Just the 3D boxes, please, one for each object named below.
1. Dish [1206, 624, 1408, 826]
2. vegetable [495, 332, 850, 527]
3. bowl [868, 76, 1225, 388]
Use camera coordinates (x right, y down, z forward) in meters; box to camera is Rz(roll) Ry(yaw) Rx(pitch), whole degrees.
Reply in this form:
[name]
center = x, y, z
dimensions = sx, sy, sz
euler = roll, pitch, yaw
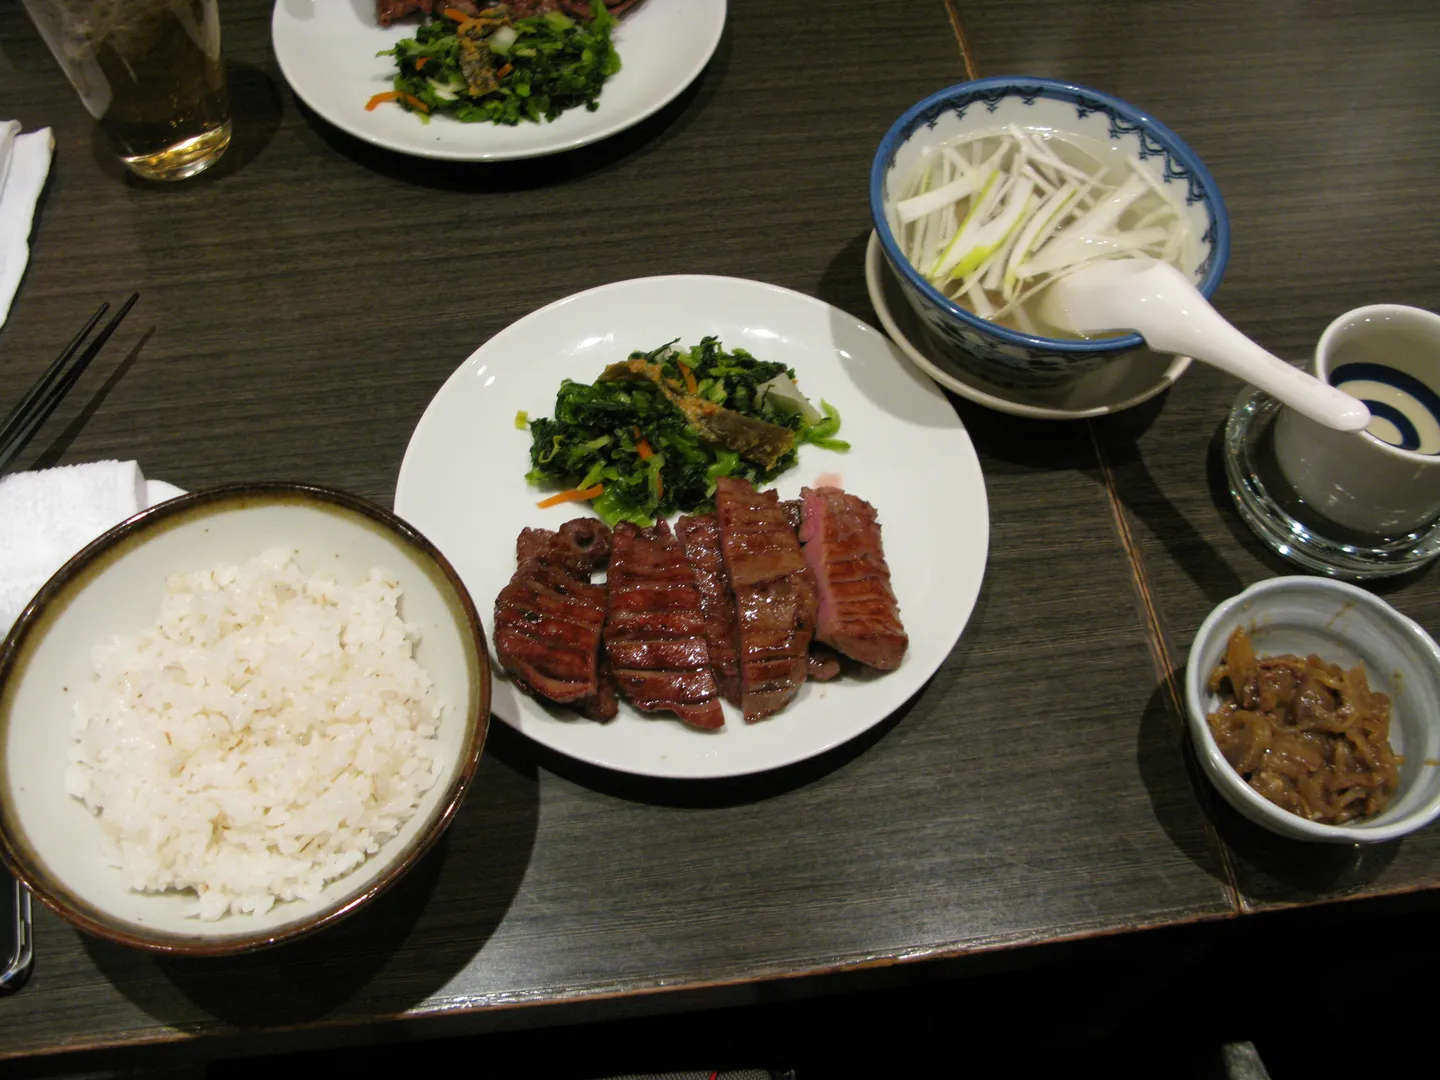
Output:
[Dish]
center = 1.191, 0.394, 2.474
dimensions = 0.392, 0.074, 0.339
euler = 18, 68, 6
[vegetable]
center = -0.100, -0.251, 2.796
dimensions = 0.629, 0.156, 0.413
euler = -19, 73, -12
[bowl]
center = 0.823, -0.677, 3.185
dimensions = 0.850, 0.381, 0.835
euler = -1, 67, 2
